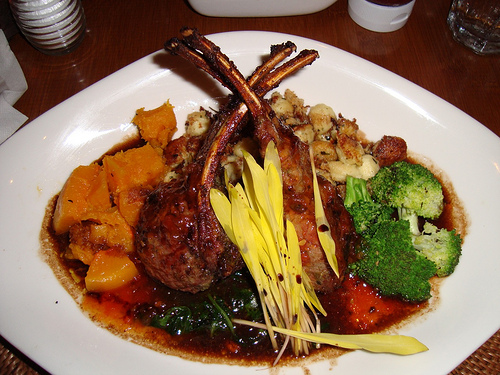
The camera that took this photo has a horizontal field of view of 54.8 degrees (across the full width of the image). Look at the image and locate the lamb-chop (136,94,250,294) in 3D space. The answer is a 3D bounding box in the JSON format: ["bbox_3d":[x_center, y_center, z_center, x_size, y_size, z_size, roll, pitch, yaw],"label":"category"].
[{"bbox_3d":[-0.366,-0.015,3.664,0.746,0.390,1.549,14,90,10],"label":"lamb-chop"}]

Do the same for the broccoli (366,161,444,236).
[{"bbox_3d":[1.265,0.089,3.986,0.536,0.588,0.671,-16,69,40],"label":"broccoli"}]

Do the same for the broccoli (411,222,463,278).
[{"bbox_3d":[1.398,0.451,3.953,0.519,0.332,0.544,5,29,11],"label":"broccoli"}]

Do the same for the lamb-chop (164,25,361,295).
[{"bbox_3d":[0.152,-0.096,3.965,0.836,0.763,3.053,-21,77,-49],"label":"lamb-chop"}]

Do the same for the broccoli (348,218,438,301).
[{"bbox_3d":[1.146,0.575,3.702,0.618,0.320,0.514,33,81,7],"label":"broccoli"}]
